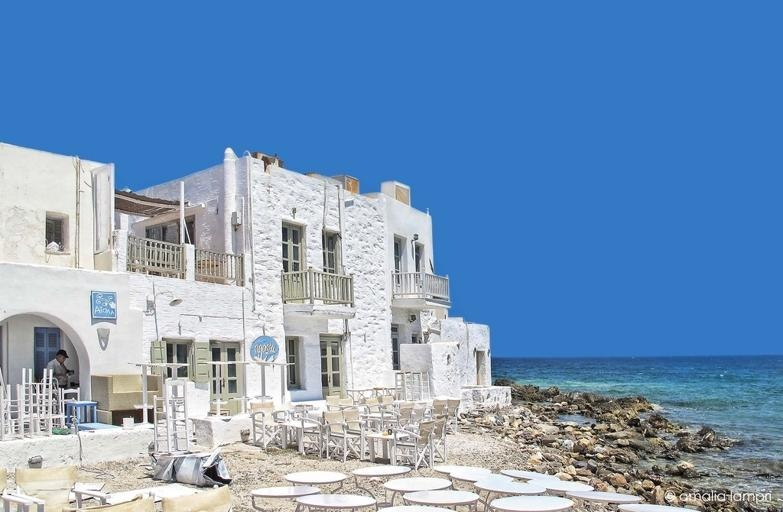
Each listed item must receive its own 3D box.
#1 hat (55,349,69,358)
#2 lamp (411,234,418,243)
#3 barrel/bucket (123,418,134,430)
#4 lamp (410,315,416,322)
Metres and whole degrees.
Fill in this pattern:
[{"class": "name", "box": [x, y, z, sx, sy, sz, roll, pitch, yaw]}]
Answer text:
[{"class": "hat", "box": [-8.474, 2.488, 22.084, 0.301, 0.147, 0.195, 1, -4, 19]}, {"class": "lamp", "box": [0.924, -0.701, 32.814, 0.280, 0.321, 0.302, 0, -9, 6]}, {"class": "barrel/bucket", "box": [-6.462, 4.122, 21.211, 0.267, 0.232, 0.262, 2, -2, 0]}, {"class": "lamp", "box": [0.816, 2.337, 32.180, 0.100, 0.287, 0.354, -16, -17, 41]}]
